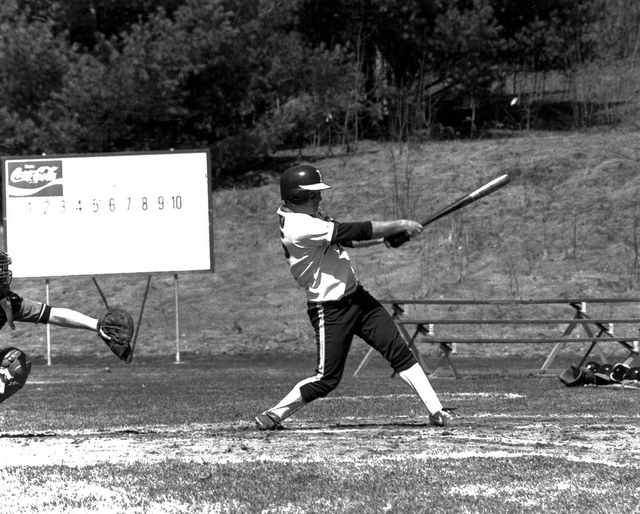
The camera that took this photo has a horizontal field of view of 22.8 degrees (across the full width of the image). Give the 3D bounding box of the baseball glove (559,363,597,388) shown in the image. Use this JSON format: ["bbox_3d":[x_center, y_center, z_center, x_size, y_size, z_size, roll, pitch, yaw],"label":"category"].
[{"bbox_3d":[6.392,3.027,39.320,0.728,0.354,0.517,26,1,-15],"label":"baseball glove"}]

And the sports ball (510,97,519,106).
[{"bbox_3d":[7.358,-5.886,59.899,0.286,0.286,0.251,-6,10,-29],"label":"sports ball"}]
